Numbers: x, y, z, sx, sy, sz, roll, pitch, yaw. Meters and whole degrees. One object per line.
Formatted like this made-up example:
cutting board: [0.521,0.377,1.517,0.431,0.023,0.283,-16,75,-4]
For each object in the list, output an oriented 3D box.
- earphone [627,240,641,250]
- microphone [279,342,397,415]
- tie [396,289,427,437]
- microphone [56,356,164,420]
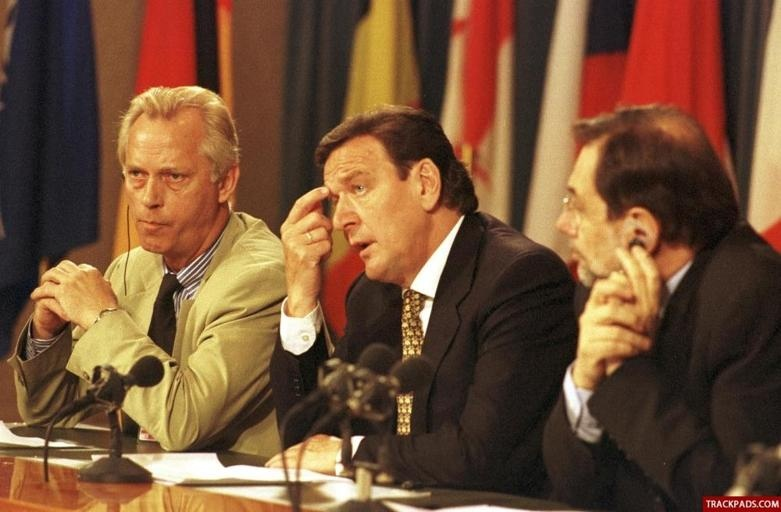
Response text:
earphone: [0.861,-0.035,3.218,0.033,0.024,0.031,6,-11,-30]
microphone: [-0.123,0.367,2.763,0.227,0.237,0.089,-18,13,-8]
tie: [0.094,0.411,3.674,0.088,0.611,0.090,-15,-31,40]
microphone: [-0.974,0.449,3.126,0.373,0.133,0.118,-21,4,-23]
